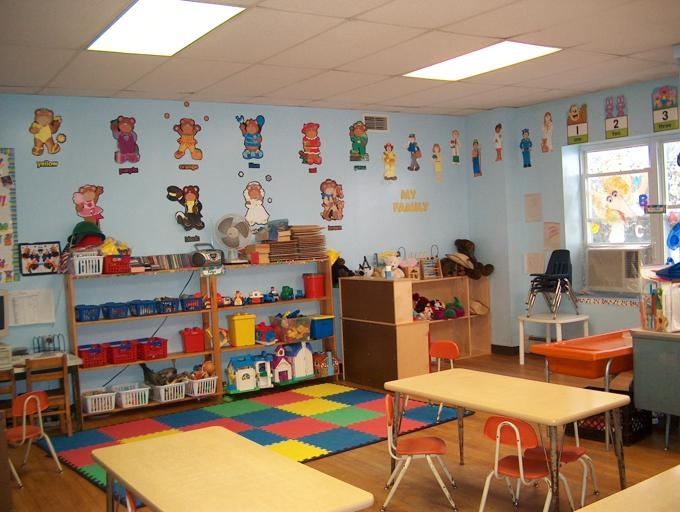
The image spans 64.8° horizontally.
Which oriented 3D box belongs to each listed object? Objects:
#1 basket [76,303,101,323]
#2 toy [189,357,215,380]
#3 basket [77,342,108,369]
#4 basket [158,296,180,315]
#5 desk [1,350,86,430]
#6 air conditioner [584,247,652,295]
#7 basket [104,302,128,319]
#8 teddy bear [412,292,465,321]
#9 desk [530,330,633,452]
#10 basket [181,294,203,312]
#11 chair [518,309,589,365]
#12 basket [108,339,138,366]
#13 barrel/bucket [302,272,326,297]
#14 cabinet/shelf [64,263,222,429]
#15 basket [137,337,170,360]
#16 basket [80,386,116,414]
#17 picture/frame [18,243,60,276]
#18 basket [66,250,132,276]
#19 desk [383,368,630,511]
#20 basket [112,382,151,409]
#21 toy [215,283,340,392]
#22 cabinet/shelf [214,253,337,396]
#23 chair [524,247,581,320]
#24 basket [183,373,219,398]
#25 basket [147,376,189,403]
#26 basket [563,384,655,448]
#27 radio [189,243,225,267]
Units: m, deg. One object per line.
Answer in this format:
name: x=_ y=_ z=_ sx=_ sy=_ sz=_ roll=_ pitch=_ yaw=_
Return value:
basket: x=-2.899 y=0.665 z=6.211 sx=0.236 sy=0.121 sz=0.173 roll=4 pitch=-5 yaw=-45
toy: x=-1.719 y=1.423 z=6.768 sx=0.272 sy=0.135 sz=0.182 roll=3 pitch=-5 yaw=-36
basket: x=-2.834 y=1.154 z=6.222 sx=0.226 sy=0.194 sz=0.288 roll=1 pitch=-6 yaw=-21
basket: x=-2.080 y=0.614 z=6.562 sx=0.254 sy=0.177 sz=0.190 roll=-3 pitch=5 yaw=-13
desk: x=-3.243 y=1.397 z=5.729 sx=0.634 sy=0.578 sz=0.484 roll=4 pitch=7 yaw=-45
air conditioner: x=3.915 y=0.205 z=7.515 sx=0.359 sy=0.594 sz=0.689 roll=-2 pitch=3 yaw=-43
basket: x=-2.621 y=0.649 z=6.278 sx=0.279 sy=0.168 sz=0.182 roll=-4 pitch=5 yaw=-20
teddy bear: x=1.553 y=0.827 z=8.343 sx=0.595 sy=0.216 sz=0.498 roll=-1 pitch=1 yaw=-19
desk: x=2.705 y=1.366 z=5.442 sx=1.287 sy=0.948 sz=0.867 roll=-2 pitch=-9 yaw=-30
basket: x=-1.842 y=0.600 z=6.717 sx=0.226 sy=0.144 sz=0.156 roll=-2 pitch=2 yaw=-26
chair: x=3.139 y=1.070 z=7.946 sx=0.844 sy=0.697 sz=0.834 roll=-4 pitch=5 yaw=-37
basket: x=-2.556 y=1.145 z=6.337 sx=0.322 sy=0.229 sz=0.325 roll=-4 pitch=5 yaw=-21
barrel/bucket: x=-0.360 y=0.411 z=7.496 sx=0.309 sy=0.300 sz=0.310 roll=-1 pitch=0 yaw=0
cabinet/shelf: x=-2.401 y=1.104 z=6.408 sx=1.782 sy=1.661 sz=0.481 roll=-3 pitch=0 yaw=-36
basket: x=-2.279 y=1.122 z=6.528 sx=0.332 sy=0.228 sz=0.374 roll=-4 pitch=5 yaw=-24
basket: x=-2.750 y=1.646 z=6.144 sx=0.255 sy=0.167 sz=0.345 roll=3 pitch=-5 yaw=-29
picture/frame: x=-3.453 y=0.034 z=6.186 sx=0.404 sy=0.372 sz=0.100 roll=0 pitch=3 yaw=-37
basket: x=-2.751 y=0.054 z=6.164 sx=0.497 sy=0.188 sz=0.326 roll=-2 pitch=1 yaw=-38
desk: x=1.381 y=1.447 z=3.992 sx=1.060 sy=0.770 sz=1.495 roll=-1 pitch=-4 yaw=42
basket: x=-2.475 y=1.669 z=6.418 sx=0.395 sy=0.196 sz=0.436 roll=-4 pitch=5 yaw=-23
toy: x=-0.888 y=1.121 z=7.201 sx=1.409 sy=1.209 sz=0.384 roll=-2 pitch=3 yaw=-31
cabinet/shelf: x=-0.907 y=0.959 z=7.197 sx=1.758 sy=1.670 sz=0.555 roll=-4 pitch=6 yaw=-32
chair: x=3.147 y=0.383 z=7.935 sx=0.770 sy=0.929 sz=0.517 roll=-1 pitch=5 yaw=8
basket: x=-1.698 y=1.613 z=6.647 sx=0.325 sy=0.177 sz=0.225 roll=3 pitch=-3 yaw=-41
basket: x=-2.063 y=1.634 z=6.488 sx=0.416 sy=0.241 sz=0.232 roll=-4 pitch=5 yaw=-20
basket: x=2.728 y=1.485 z=5.304 sx=0.589 sy=0.367 sz=0.592 roll=-1 pitch=1 yaw=42
radio: x=-1.695 y=0.019 z=6.774 sx=0.300 sy=0.300 sz=0.393 roll=-3 pitch=-2 yaw=34
